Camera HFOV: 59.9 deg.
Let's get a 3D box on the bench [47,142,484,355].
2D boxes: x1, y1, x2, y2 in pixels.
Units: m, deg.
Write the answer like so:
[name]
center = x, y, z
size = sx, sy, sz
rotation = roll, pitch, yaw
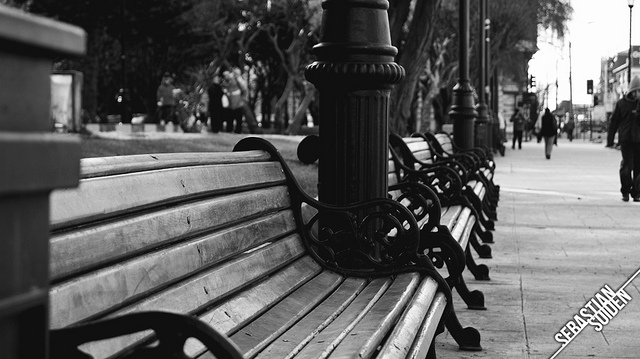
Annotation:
[bench]
center = -0.295, 0.391, 3.059
size = 2.179, 1.157, 1.427
rotation = -5, 12, -30
